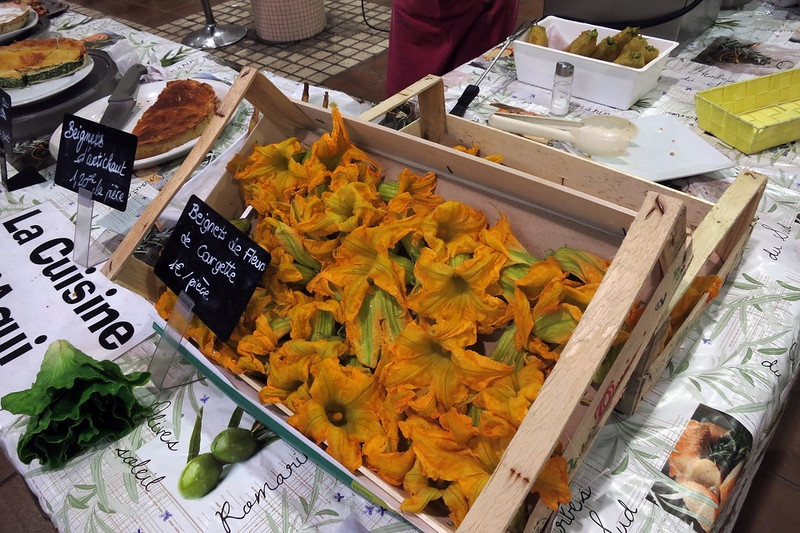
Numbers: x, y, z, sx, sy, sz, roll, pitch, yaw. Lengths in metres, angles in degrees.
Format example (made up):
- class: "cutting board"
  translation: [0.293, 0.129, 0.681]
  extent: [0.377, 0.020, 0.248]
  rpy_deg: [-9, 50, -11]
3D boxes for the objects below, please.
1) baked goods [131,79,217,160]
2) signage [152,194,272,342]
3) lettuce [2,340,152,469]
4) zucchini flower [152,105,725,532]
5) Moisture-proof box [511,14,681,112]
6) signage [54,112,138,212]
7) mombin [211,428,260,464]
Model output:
- class: "baked goods"
  translation: [-0.663, -0.448, 1.468]
  extent: [0.214, 0.072, 0.379]
  rpy_deg: [-8, 45, -1]
- class: "signage"
  translation: [-0.367, 0.013, 0.953]
  extent: [0.260, 0.021, 0.207]
  rpy_deg: [39, 106, 19]
- class: "lettuce"
  translation: [-0.608, 0.260, 0.907]
  extent: [0.235, 0.128, 0.247]
  rpy_deg: [-18, 46, -34]
- class: "zucchini flower"
  translation: [-0.045, 0.044, 0.844]
  extent: [0.852, 0.315, 0.576]
  rpy_deg: [33, 71, 16]
- class: "Moisture-proof box"
  translation: [0.573, -0.596, 1.555]
  extent: [0.482, 0.154, 0.318]
  rpy_deg: [20, 42, 24]
- class: "signage"
  translation: [-0.738, -0.239, 1.175]
  extent: [0.273, 0.018, 0.222]
  rpy_deg: [20, 112, 18]
- class: "mombin"
  translation: [-0.301, 0.327, 0.889]
  extent: [0.077, 0.058, 0.055]
  rpy_deg: [7, 83, -24]
